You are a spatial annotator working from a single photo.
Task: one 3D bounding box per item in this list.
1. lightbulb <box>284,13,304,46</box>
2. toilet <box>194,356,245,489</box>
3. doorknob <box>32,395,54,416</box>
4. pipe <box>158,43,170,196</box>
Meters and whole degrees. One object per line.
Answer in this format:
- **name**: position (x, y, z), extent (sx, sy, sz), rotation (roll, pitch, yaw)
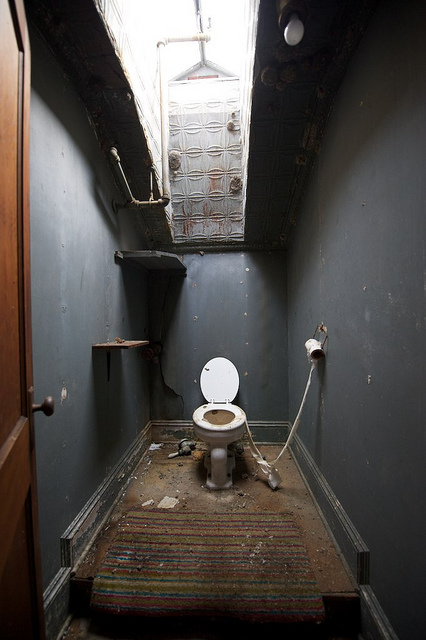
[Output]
- **lightbulb**: position (0.259, -0.920, 1.371), extent (0.042, 0.140, 0.059), rotation (2, -20, 6)
- **toilet**: position (0.036, 0.565, 2.479), extent (0.201, 0.680, 0.373), rotation (0, 9, -1)
- **doorknob**: position (-0.412, 0.212, 1.050), extent (0.069, 0.052, 0.042), rotation (0, 3, 19)
- **pipe**: position (-0.242, -0.990, 2.135), extent (0.031, 0.577, 0.068), rotation (1, 6, -10)
